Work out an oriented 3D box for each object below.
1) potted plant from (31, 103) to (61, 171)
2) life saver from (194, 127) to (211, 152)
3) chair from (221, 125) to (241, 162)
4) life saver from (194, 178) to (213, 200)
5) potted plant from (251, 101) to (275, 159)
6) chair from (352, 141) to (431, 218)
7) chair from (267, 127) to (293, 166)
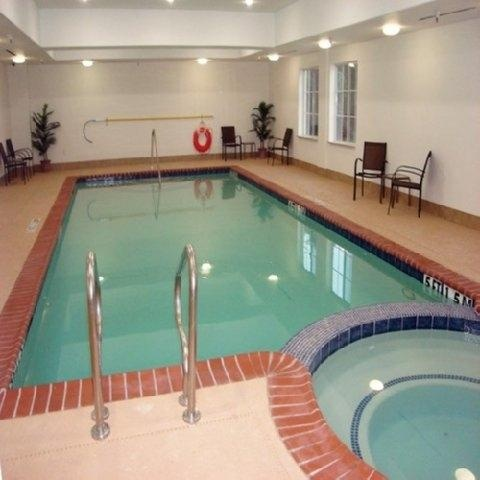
[{"bbox_3d":[-6.028,-3.148,11.691,0.764,2.036,0.684,3,7,16],"label":"potted plant"},{"bbox_3d":[-1.315,-3.416,13.107,0.560,0.879,0.190,-6,11,-28],"label":"life saver"},{"bbox_3d":[-0.331,-3.271,13.006,0.527,1.131,0.651,-4,11,-8],"label":"chair"},{"bbox_3d":[-0.971,-1.311,9.945,0.376,0.157,0.836,1,28,-1],"label":"life saver"},{"bbox_3d":[0.826,-3.846,13.419,0.728,1.878,0.770,1,3,-24],"label":"potted plant"},{"bbox_3d":[2.889,-1.274,7.590,0.827,1.407,2.468,1,8,-3],"label":"chair"},{"bbox_3d":[1.242,-3.013,12.277,0.618,1.154,0.599,8,12,23],"label":"chair"}]
